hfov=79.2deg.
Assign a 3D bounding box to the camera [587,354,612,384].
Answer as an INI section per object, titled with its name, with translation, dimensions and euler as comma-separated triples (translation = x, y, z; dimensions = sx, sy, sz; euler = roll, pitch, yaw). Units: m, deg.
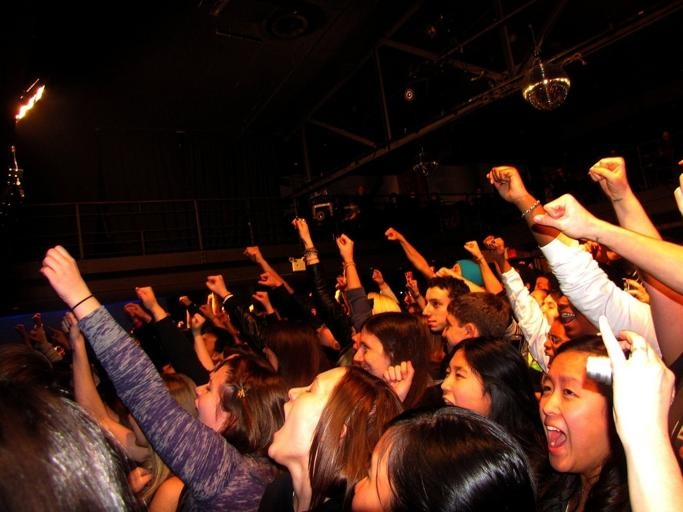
[camera]
translation = 0.698, 0.305, 1.143
dimensions = 0.062, 0.063, 0.069
euler = 10, 12, 18
